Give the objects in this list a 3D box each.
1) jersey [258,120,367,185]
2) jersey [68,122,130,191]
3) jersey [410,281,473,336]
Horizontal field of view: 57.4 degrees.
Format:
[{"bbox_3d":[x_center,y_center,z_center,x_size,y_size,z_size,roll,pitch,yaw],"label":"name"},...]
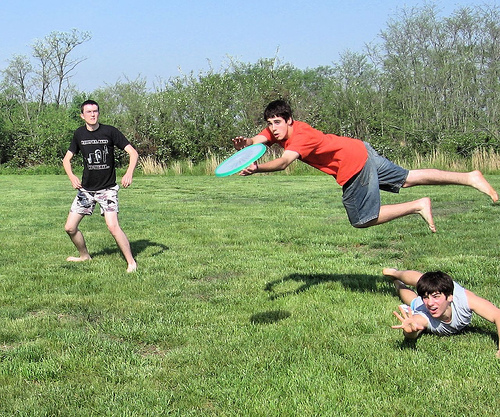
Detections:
[{"bbox_3d":[0.726,-0.520,4.879,1.029,0.364,0.606,15,20,-22],"label":"jersey"},{"bbox_3d":[-2.219,-0.759,6.695,0.842,0.994,0.355,0,6,-16],"label":"jersey"},{"bbox_3d":[1.827,0.970,4.406,0.581,0.529,0.577,-4,-15,30],"label":"jersey"}]
